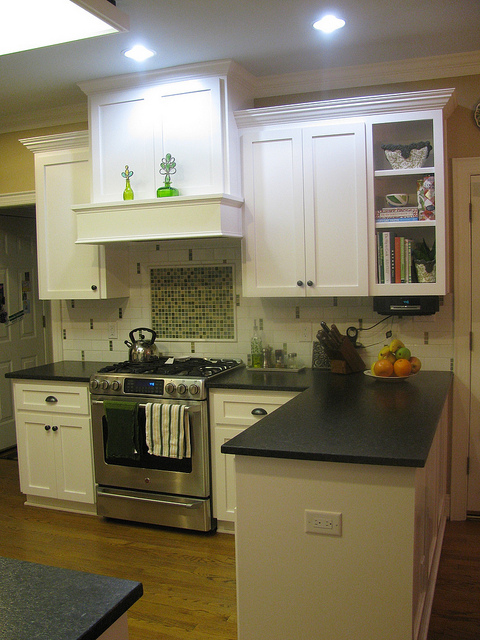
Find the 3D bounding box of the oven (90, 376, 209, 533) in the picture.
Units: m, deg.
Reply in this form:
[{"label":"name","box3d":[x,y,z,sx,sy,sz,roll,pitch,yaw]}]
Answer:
[{"label":"oven","box3d":[-0.485,0.734,3.464,0.772,0.964,0.704,3,10,21]}]

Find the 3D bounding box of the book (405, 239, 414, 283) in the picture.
[{"label":"book","box3d":[0.948,-0.333,3.039,0.033,0.311,0.229,-1,3,15]}]

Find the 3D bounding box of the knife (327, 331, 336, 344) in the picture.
[{"label":"knife","box3d":[0.534,0.103,3.161,0.027,0.079,0.072,0,4,31]}]

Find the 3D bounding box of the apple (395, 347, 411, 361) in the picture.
[{"label":"apple","box3d":[0.908,0.193,3.021,0.066,0.076,0.064,8,-12,-21]}]

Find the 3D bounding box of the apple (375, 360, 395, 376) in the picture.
[{"label":"apple","box3d":[0.788,0.264,2.969,0.084,0.083,0.085,-1,-9,5]}]

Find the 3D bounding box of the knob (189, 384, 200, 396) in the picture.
[{"label":"knob","box3d":[-0.264,0.394,3.051,0.055,0.055,0.018,-4,-6,23]}]

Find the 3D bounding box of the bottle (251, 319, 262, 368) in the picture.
[{"label":"bottle","box3d":[0.109,0.153,3.606,0.070,0.303,0.199,-1,3,3]}]

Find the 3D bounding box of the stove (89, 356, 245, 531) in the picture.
[{"label":"stove","box3d":[-0.423,0.721,3.584,0.938,1.217,0.912,0,1,22]}]

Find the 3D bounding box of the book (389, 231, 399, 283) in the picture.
[{"label":"book","box3d":[0.867,-0.347,3.062,0.037,0.356,0.262,0,4,14]}]

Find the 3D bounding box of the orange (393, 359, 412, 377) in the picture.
[{"label":"orange","box3d":[0.874,0.257,2.923,0.087,0.087,0.087,-1,1,21]}]

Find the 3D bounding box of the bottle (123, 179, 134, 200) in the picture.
[{"label":"bottle","box3d":[-0.694,-0.811,3.375,0.067,0.134,0.080,-2,3,-12]}]

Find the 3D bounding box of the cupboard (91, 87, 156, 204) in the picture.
[{"label":"cupboard","box3d":[-0.705,-1.090,3.629,0.489,0.782,0.431,-2,1,8]}]

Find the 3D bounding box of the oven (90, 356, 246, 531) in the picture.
[{"label":"oven","box3d":[-0.449,0.730,3.534,0.864,0.987,0.805,2,5,30]}]

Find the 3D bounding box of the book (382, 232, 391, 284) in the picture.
[{"label":"book","box3d":[0.828,-0.350,3.071,0.041,0.283,0.014,-1,3,7]}]

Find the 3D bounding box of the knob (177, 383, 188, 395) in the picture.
[{"label":"knob","box3d":[-0.328,0.394,3.082,0.051,0.066,0.038,0,4,28]}]

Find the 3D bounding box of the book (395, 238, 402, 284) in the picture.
[{"label":"book","box3d":[0.891,-0.342,3.054,0.035,0.328,0.241,-1,4,15]}]

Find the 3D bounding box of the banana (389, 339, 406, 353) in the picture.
[{"label":"banana","box3d":[0.888,0.147,3.078,0.070,0.068,0.081,-29,34,-31]}]

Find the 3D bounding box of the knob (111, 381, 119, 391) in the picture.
[{"label":"knob","box3d":[-0.748,0.394,3.248,0.054,0.073,0.025,3,2,31]}]

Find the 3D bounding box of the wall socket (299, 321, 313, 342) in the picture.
[{"label":"wall socket","box3d":[0.433,0.077,3.577,0.089,0.137,0.013,0,4,25]}]

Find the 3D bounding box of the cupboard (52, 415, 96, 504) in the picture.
[{"label":"cupboard","box3d":[-1.181,0.952,3.641,0.346,0.548,0.343,0,-13,-2]}]

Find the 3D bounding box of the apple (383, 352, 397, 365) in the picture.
[{"label":"apple","box3d":[0.836,0.210,3.063,0.059,0.080,0.059,-13,22,-41]}]

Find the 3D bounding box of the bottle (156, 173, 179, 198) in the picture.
[{"label":"bottle","box3d":[-0.441,-0.805,3.241,0.125,0.165,0.148,-1,3,6]}]

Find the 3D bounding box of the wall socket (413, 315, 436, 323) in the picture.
[{"label":"wall socket","box3d":[1.132,-0.007,3.336,0.132,0.045,0.013,-1,3,15]}]

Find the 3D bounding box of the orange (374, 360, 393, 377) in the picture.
[{"label":"orange","box3d":[0.785,0.265,2.970,0.087,0.087,0.087,0,-3,-2]}]

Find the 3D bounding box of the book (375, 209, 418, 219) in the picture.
[{"label":"book","box3d":[0.886,-0.599,3.065,0.220,0.054,0.018,-1,3,15]}]

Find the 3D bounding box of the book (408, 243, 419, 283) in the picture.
[{"label":"book","box3d":[0.971,-0.318,3.032,0.050,0.217,0.043,-3,4,-27]}]

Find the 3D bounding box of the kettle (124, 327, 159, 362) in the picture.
[{"label":"kettle","box3d":[-0.694,0.171,3.874,0.269,0.280,0.203,4,6,40]}]

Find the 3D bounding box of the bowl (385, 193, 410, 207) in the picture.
[{"label":"bowl","box3d":[0.910,-0.691,3.127,0.145,0.086,0.081,-1,3,5]}]

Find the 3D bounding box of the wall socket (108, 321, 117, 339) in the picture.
[{"label":"wall socket","box3d":[-0.975,0.075,4.148,0.089,0.130,0.007,0,4,22]}]

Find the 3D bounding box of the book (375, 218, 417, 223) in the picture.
[{"label":"book","box3d":[0.877,-0.563,3.057,0.221,0.021,0.034,-1,3,13]}]

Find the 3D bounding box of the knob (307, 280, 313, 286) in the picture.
[{"label":"knob","box3d":[0.411,-0.217,3.184,0.031,0.030,0.009,2,8,13]}]
